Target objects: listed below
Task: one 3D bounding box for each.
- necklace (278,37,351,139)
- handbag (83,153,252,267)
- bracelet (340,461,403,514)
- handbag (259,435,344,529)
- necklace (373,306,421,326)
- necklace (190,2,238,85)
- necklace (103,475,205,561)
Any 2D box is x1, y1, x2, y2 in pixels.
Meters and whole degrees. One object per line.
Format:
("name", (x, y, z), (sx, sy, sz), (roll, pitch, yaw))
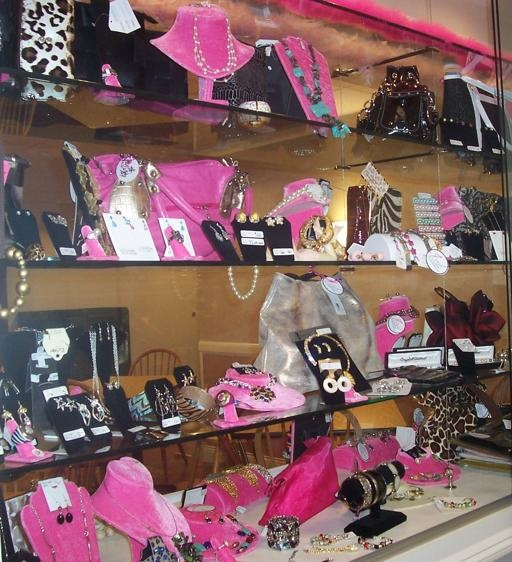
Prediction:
("necklace", (0.130, -0.666, 1.740), (0.096, 0.374, 0.265), (-26, -8, 38))
("handbag", (-0.237, -0.237, 1.444), (0.456, 0.297, 0.169), (-11, 3, -38))
("bracelet", (0.374, 0.661, 1.599), (0.117, 0.116, 0.244), (-15, -7, 36))
("handbag", (0.151, 0.669, 1.595), (0.113, 0.165, 0.227), (10, 16, 32))
("necklace", (0.659, 0.171, 2.212), (0.134, 0.033, 0.091), (-17, 10, 15))
("necklace", (-0.133, -0.671, 1.405), (0.192, 0.220, 0.156), (-6, -38, -13))
("necklace", (-0.292, 0.575, 1.226), (0.232, 0.214, 0.153), (-4, 4, 32))
